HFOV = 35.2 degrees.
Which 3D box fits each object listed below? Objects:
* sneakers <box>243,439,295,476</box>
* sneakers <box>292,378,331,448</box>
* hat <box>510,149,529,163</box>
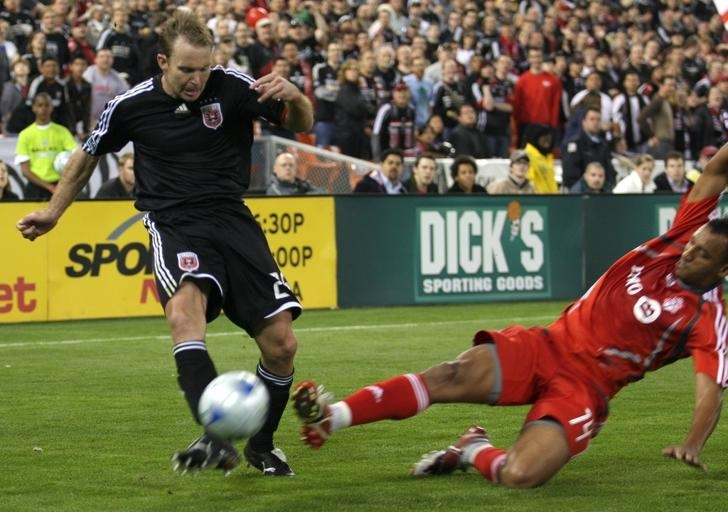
[{"bbox_3d":[-0.687,1.480,8.330,0.454,0.170,0.158,22,19,1],"label":"sneakers"},{"bbox_3d":[-0.321,1.084,7.859,0.221,0.482,0.224,2,40,13],"label":"sneakers"},{"bbox_3d":[2.047,-1.314,15.170,0.289,0.125,0.397,2,-4,-2],"label":"hat"}]
